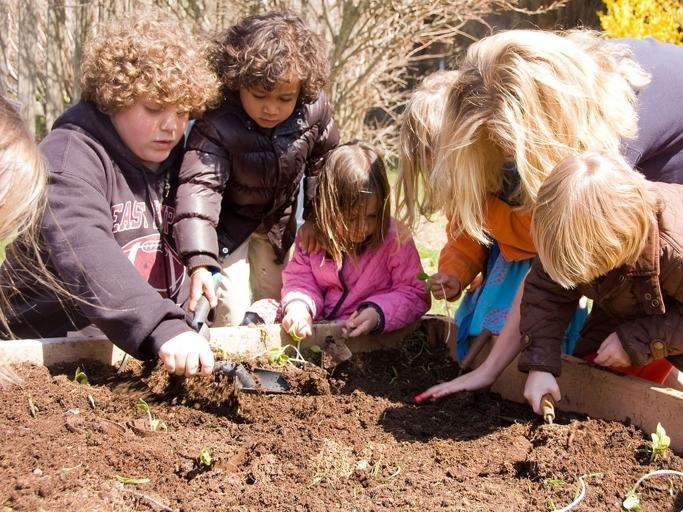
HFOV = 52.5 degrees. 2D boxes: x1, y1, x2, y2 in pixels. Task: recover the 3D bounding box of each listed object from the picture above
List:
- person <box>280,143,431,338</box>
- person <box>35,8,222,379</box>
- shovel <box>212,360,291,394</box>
[{"bbox_3d":[0.093,-0.051,3.797,0.870,1.248,0.943,1,36,5],"label":"person"},{"bbox_3d":[-0.964,-0.339,3.118,0.794,1.361,1.136,1,19,-11],"label":"person"},{"bbox_3d":[-0.406,0.575,3.121,0.299,0.113,0.152,7,36,-24],"label":"shovel"}]
